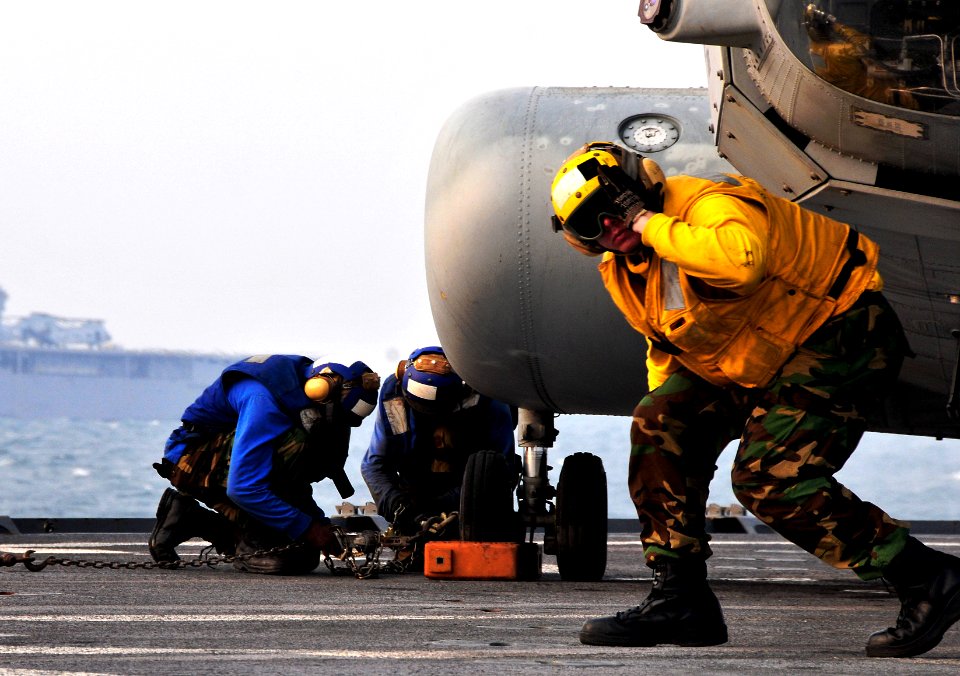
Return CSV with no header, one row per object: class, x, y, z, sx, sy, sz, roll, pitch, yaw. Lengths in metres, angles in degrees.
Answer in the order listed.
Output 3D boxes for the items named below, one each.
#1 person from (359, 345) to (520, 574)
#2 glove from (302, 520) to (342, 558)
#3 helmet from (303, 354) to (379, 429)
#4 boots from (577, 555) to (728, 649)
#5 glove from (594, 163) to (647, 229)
person,-0.233,0.543,7.635,0.966,1.084,1.159,-1,-14,12
glove,-0.680,0.865,6.990,0.185,0.124,0.069,29,-50,-18
helmet,-0.676,0.218,7.268,0.417,0.276,0.341,-5,5,-21
boots,0.534,0.851,5.138,0.516,0.248,0.184,2,-3,-16
glove,0.444,-0.451,5.046,0.123,0.197,0.060,-37,-11,-6
